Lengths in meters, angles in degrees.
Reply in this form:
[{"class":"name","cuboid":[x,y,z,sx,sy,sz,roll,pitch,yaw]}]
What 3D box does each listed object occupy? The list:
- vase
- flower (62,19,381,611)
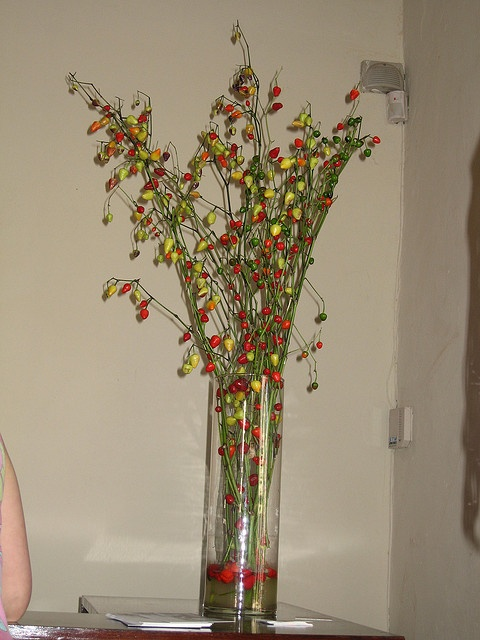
[{"class":"vase","cuboid":[0.006,0.395,1.736,0.175,0.523,0.274,3,-27,3]},{"class":"flower","cuboid":[-0.035,-0.098,2.028,0.785,1.659,0.559,0,-27,9]}]
